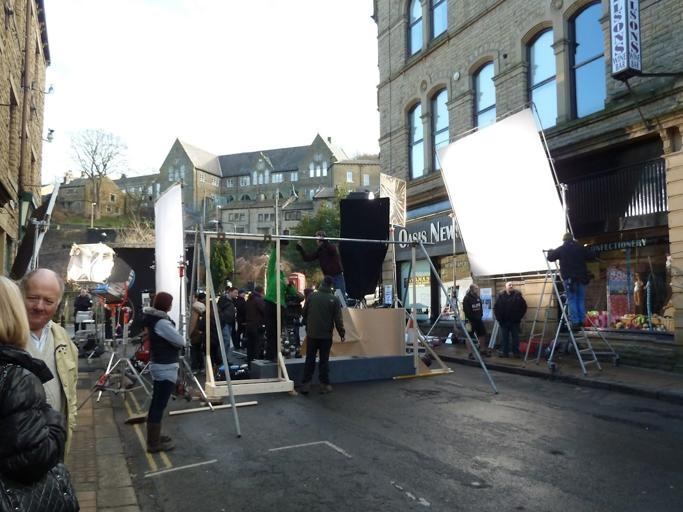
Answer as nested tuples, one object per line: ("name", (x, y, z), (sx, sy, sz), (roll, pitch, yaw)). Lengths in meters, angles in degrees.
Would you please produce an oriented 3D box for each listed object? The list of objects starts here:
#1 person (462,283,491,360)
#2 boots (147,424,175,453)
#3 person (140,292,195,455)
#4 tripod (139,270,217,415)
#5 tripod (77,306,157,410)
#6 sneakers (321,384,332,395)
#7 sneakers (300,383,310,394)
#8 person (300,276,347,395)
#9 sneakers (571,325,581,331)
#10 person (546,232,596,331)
("person", (3.780, 1.759, 16.493), (0.643, 1.971, 1.027), (-3, -3, 13))
("boots", (-2.623, 2.581, 8.506), (0.364, 0.426, 0.350), (-1, 0, -24))
("person", (-2.642, 1.674, 8.776), (0.570, 2.279, 0.863), (-1, -3, -20))
("tripod", (-2.500, 1.555, 9.028), (1.154, 2.117, 0.680), (0, -7, -33))
("tripod", (-4.543, 1.916, 12.301), (1.516, 2.126, 1.534), (1, 2, -40))
("sneakers", (-0.290, 2.595, 11.515), (0.194, 0.168, 0.283), (-3, -3, 3))
("sneakers", (-0.698, 2.617, 11.559), (0.127, 0.208, 0.184), (3, 0, -25))
("person", (-0.395, 1.556, 11.797), (0.887, 2.270, 0.668), (-2, -2, -5))
("sneakers", (5.496, 1.673, 13.752), (0.213, 0.085, 0.227), (2, -6, -23))
("person", (5.137, 0.566, 13.117), (0.904, 1.413, 0.619), (-2, -2, -16))
